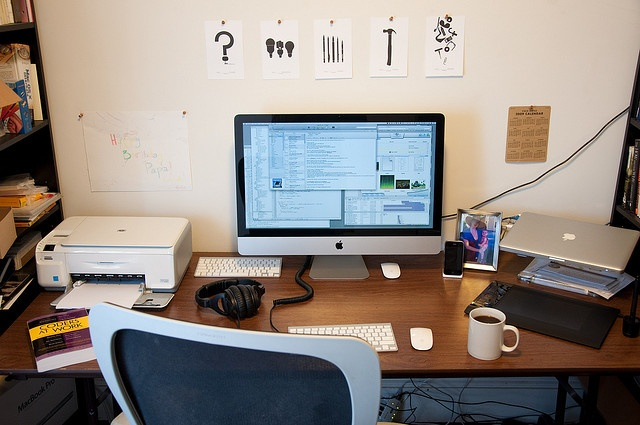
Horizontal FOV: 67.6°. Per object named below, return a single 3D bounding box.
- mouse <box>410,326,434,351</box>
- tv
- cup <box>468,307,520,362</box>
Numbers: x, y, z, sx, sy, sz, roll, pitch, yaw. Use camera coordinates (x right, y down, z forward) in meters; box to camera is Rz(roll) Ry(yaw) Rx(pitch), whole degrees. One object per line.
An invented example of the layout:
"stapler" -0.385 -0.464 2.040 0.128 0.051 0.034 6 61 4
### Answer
"mouse" 0.372 0.459 1.738 0.086 0.038 0.105 2 20 11
"tv" 0.081 -0.092 2.062 0.746 0.550 0.217 0 14 0
"cup" 0.579 0.420 1.686 0.212 0.157 0.132 6 20 17
